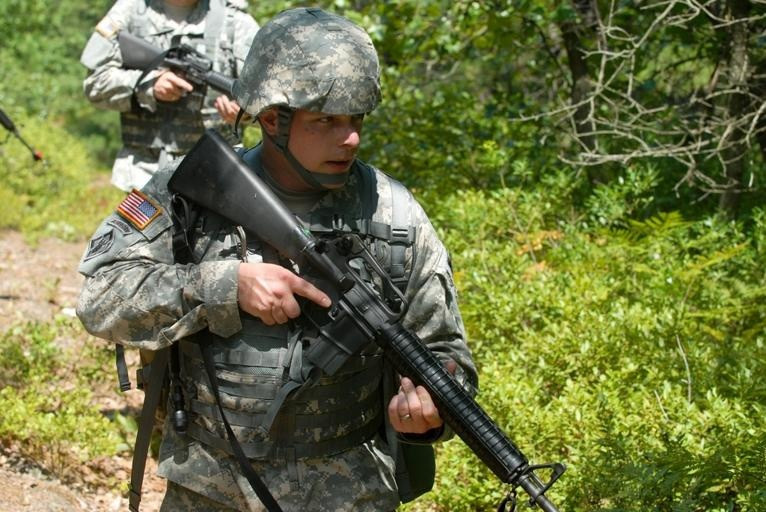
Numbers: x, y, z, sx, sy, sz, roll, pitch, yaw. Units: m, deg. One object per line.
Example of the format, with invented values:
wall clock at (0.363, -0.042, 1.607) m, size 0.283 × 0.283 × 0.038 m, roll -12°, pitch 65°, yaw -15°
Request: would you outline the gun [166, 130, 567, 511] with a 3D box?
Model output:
gun at (-0.120, 0.490, 6.105) m, size 3.529 × 1.058 × 0.291 m, roll 49°, pitch 3°, yaw 6°
